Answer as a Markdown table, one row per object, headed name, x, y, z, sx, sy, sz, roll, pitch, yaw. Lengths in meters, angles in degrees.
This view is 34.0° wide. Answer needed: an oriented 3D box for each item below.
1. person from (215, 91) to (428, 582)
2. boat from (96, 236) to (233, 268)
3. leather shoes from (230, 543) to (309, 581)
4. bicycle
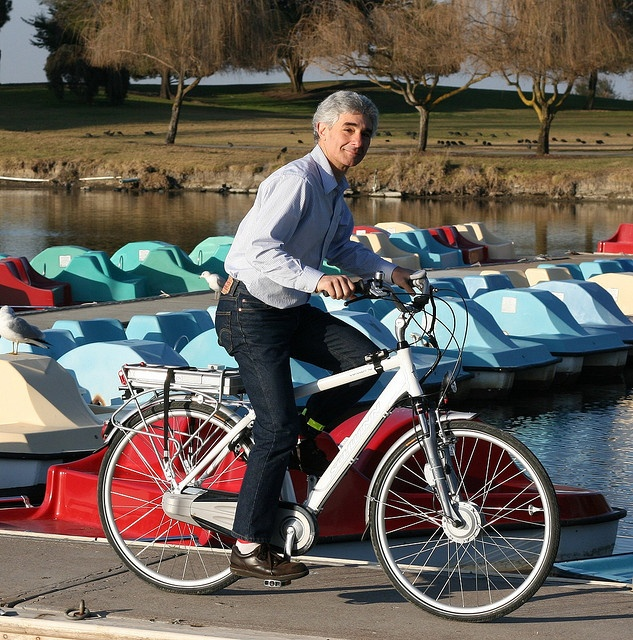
| name | x | y | z | sx | sy | sz | roll | pitch | yaw |
| --- | --- | --- | --- | --- | --- | --- | --- | --- | --- |
| person | -0.031 | 0.074 | 4.250 | 0.754 | 2.022 | 0.891 | 4 | 14 | 16 |
| boat | -2.606 | -1.243 | 18.627 | 1.887 | 0.512 | 1.689 | 2 | 4 | 29 |
| leather shoes | -0.191 | 0.964 | 4.140 | 0.376 | 0.109 | 0.118 | 1 | 2 | 5 |
| bicycle | 0.043 | 0.591 | 4.378 | 1.079 | 1.168 | 2.477 | 20 | -19 | -40 |
